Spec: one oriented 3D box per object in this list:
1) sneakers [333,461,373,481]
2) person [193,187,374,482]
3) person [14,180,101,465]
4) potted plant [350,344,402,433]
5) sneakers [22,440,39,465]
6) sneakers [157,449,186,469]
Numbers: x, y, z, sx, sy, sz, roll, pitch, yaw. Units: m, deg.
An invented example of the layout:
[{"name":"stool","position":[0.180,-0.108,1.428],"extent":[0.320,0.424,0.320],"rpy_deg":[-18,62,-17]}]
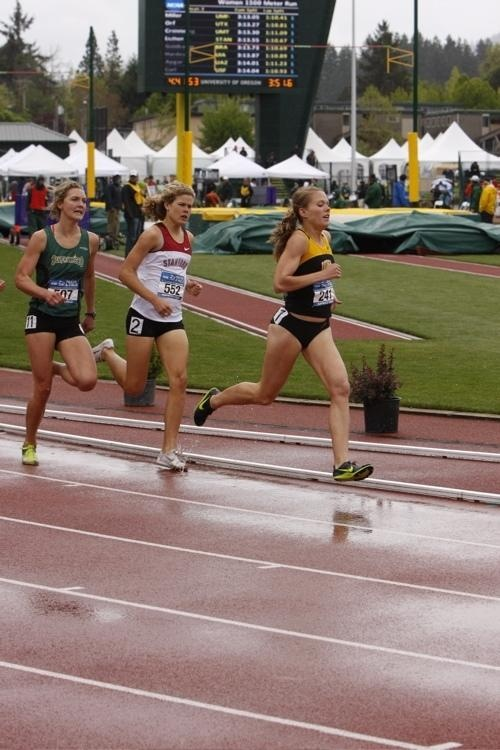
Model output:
[{"name":"sneakers","position":[0.739,0.703,6.084],"extent":[0.315,0.132,0.122],"rpy_deg":[-14,-32,27]},{"name":"person","position":[0.356,-0.338,6.479],"extent":[0.628,2.185,1.496],"rpy_deg":[0,3,-26]},{"name":"person","position":[-1.473,-0.372,6.430],"extent":[0.597,2.190,0.721],"rpy_deg":[1,3,-10]},{"name":"potted plant","position":[1.308,0.150,8.577],"extent":[0.627,0.831,0.570],"rpy_deg":[-4,-7,0]},{"name":"sneakers","position":[-1.720,0.626,6.547],"extent":[0.088,0.092,0.218],"rpy_deg":[-1,7,-17]},{"name":"sneakers","position":[-0.615,0.679,6.645],"extent":[0.288,0.127,0.100],"rpy_deg":[3,2,43]}]
